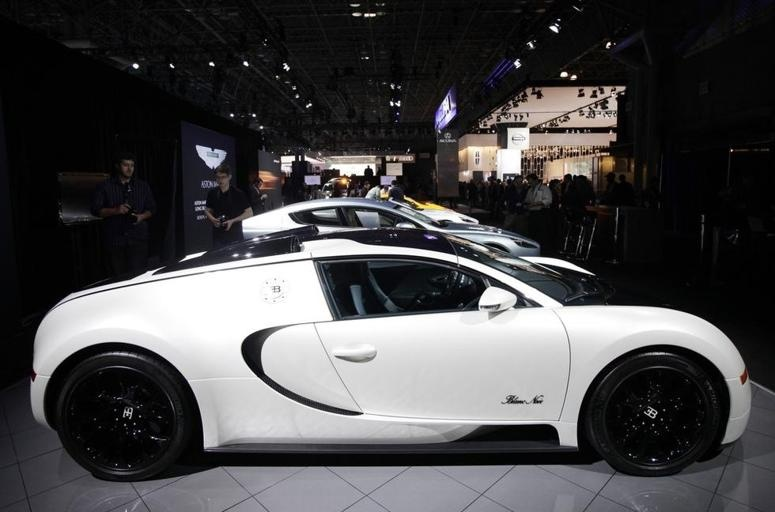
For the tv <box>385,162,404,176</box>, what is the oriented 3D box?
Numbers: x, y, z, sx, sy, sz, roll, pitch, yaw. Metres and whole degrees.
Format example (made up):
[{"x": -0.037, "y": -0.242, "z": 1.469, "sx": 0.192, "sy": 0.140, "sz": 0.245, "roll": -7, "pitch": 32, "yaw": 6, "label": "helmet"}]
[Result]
[{"x": 0.485, "y": -6.092, "z": 33.185, "sx": 1.077, "sy": 1.110, "sz": 0.680, "roll": 1, "pitch": -11, "yaw": 7, "label": "tv"}]

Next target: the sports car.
[{"x": -0.042, "y": 0.573, "z": 4.075, "sx": 4.469, "sy": 1.523, "sz": 2.344, "roll": -1, "pitch": 0, "yaw": 1, "label": "sports car"}]

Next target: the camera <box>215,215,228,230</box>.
[{"x": -2.505, "y": -0.501, "z": 7.137, "sx": 0.154, "sy": 0.208, "sz": 0.065, "roll": 3, "pitch": 6, "yaw": 2, "label": "camera"}]
